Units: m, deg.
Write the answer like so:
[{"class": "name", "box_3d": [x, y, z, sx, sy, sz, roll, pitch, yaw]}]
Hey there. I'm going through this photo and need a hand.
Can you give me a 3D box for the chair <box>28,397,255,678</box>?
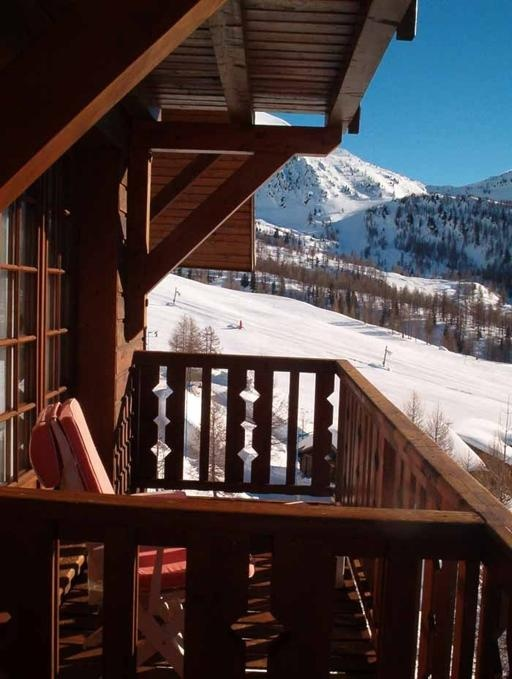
[{"class": "chair", "box_3d": [-0.422, 0.606, 2.197, 0.444, 0.819, 0.420, 2, 2, -10]}]
